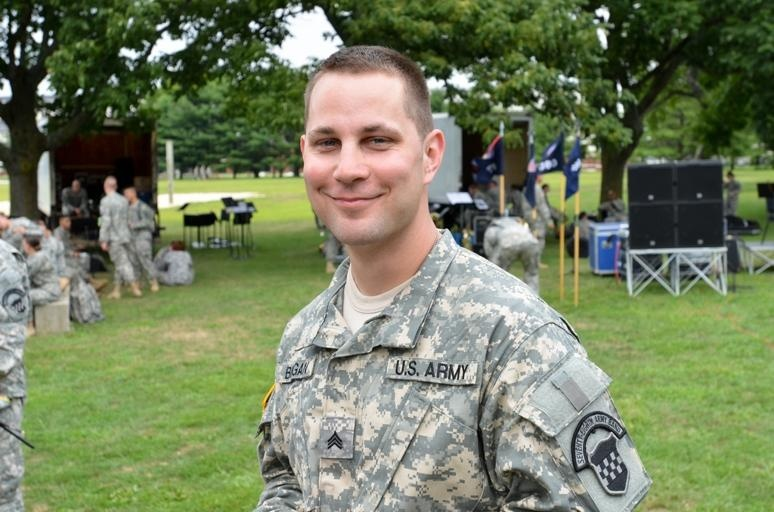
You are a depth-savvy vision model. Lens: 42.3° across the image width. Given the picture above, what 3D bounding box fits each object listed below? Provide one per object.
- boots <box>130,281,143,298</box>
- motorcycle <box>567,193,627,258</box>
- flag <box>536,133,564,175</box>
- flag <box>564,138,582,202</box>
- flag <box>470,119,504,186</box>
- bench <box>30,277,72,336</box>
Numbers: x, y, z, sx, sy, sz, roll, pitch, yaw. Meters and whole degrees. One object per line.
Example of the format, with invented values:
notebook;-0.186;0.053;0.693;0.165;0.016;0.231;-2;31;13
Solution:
boots;-5.674;0.763;22.892;0.181;0.414;0.534;-32;-1;-20
motorcycle;5.570;-0.439;26.868;1.168;1.622;1.638;-8;-7;45
flag;3.436;-2.149;20.572;0.529;1.217;0.124;1;45;-7
flag;3.781;-1.812;20.621;0.341;1.444;0.156;8;23;15
flag;2.211;-2.223;21.786;0.655;1.474;0.204;-1;-25;10
bench;-6.689;1.202;20.533;0.781;1.225;0.971;-5;-13;6
